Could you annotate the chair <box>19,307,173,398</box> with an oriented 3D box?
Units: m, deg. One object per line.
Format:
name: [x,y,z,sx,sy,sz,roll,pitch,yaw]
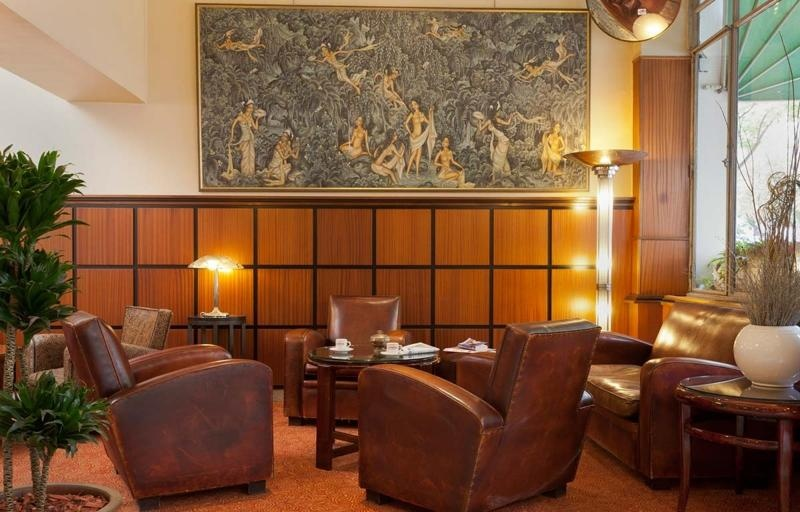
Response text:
chair: [-2.897,0.819,6.221,0.969,0.924,0.944,-10,-8,37]

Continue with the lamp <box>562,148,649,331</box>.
lamp: [2.227,-0.168,6.882,0.751,1.989,1.003,-1,0,18]

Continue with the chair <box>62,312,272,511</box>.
chair: [-1.852,1.191,5.182,1.483,1.552,1.379,-3,3,-29]

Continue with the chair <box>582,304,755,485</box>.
chair: [2.329,1.139,5.680,1.051,1.304,1.850,0,-2,1]

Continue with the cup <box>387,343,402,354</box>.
cup: [-0.045,0.801,5.535,0.073,0.077,0.116,-1,-3,5]

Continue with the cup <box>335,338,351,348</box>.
cup: [-0.483,0.778,5.713,0.142,0.098,0.106,5,-8,-33]

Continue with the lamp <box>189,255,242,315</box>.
lamp: [-1.984,0.337,7.100,0.650,0.693,0.640,3,-3,-42]

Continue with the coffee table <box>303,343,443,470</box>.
coffee table: [-0.346,1.265,5.482,0.988,0.744,0.990,1,-2,-21]
